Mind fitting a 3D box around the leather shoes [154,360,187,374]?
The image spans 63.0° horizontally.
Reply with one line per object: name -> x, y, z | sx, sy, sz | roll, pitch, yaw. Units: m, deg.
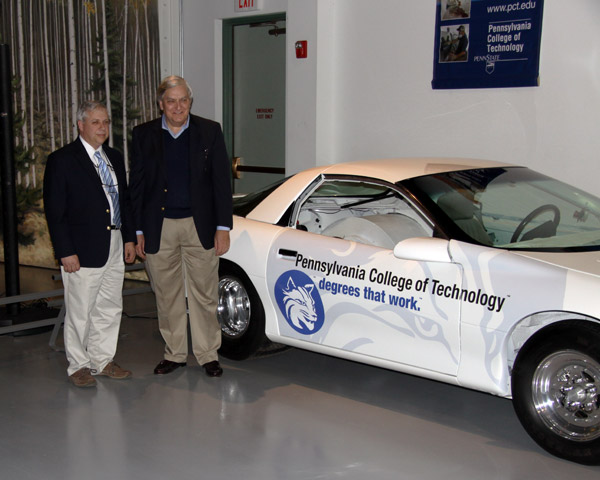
leather shoes -> -1.071, 1.029, 4.036 | 0.218, 0.100, 0.094 | 3, 4, -43

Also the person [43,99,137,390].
person -> -1.584, 0.055, 3.728 | 0.641, 2.132, 0.348 | -3, 6, -32

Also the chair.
chair -> 1.033, -0.145, 3.060 | 0.347, 0.312, 0.411 | 0, 5, 6

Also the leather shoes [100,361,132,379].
leather shoes -> -1.483, 1.026, 3.931 | 0.216, 0.103, 0.121 | 3, 4, 18
